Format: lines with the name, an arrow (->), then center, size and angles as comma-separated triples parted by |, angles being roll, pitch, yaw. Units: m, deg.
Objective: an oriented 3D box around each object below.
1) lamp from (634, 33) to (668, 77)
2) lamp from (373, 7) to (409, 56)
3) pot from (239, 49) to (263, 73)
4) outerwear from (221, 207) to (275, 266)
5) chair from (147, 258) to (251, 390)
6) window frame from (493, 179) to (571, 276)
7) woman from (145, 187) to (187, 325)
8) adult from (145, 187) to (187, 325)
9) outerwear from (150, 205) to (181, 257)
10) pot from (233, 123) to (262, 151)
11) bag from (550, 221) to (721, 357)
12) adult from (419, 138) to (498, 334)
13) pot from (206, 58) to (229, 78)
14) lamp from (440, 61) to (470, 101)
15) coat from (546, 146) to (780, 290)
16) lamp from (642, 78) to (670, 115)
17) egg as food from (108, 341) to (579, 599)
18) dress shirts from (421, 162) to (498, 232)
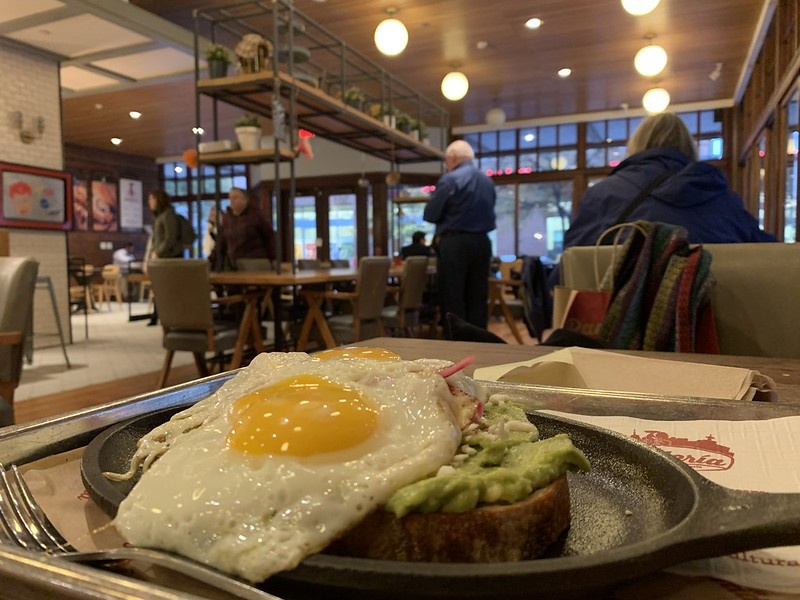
lamp -> 2.386, -2.294, 6.230 | 0.203, 0.257, 0.226 | -5, 8, -29
lamp -> -0.071, -2.357, 5.813 | 0.254, 0.438, 0.647 | -2, 7, 2
pot -> -1.043, -1.681, 4.617 | 0.153, 0.159, 0.133 | 16, 21, 37
outerwear -> -1.355, -0.602, 5.712 | 0.511, 0.505, 0.293 | 3, 14, 7
chair -> -1.127, 0.119, 3.738 | 0.554, 0.776, 0.564 | 6, 11, 29
window frame -> 1.999, -1.233, 10.539 | 1.450, 1.765, 0.079 | 2, -28, 12
woman -> -2.279, -0.456, 6.500 | 0.405, 1.198, 0.409 | -4, 11, -41
adult -> -2.275, -0.468, 6.528 | 0.406, 1.189, 0.421 | -6, 16, -40
outerwear -> -2.303, -0.660, 6.457 | 0.272, 0.523, 0.459 | -7, 9, -27
pot -> -1.234, -1.324, 5.359 | 0.189, 0.229, 0.440 | -3, 7, -14
bag -> 0.499, -0.021, 1.425 | 0.306, 0.307, 0.175 | -4, -16, 45
adult -> 0.472, -0.400, 5.237 | 0.551, 1.736, 0.525 | -3, 6, -38
pot -> -1.361, -1.719, 4.871 | 0.137, 0.119, 0.156 | 1, 4, 3
lamp -> 0.611, -2.458, 7.287 | 0.375, 0.542, 0.388 | 1, -17, 1
coat -> 0.947, -0.346, 2.440 | 0.574, 0.265, 0.643 | -3, 8, 7
lamp -> 2.891, -2.251, 7.392 | 0.237, 0.307, 0.387 | 0, 7, 18
egg as food -> -0.034, 0.112, 0.433 | 0.171, 0.064, 0.200 | -4, 8, -16
dress shirts -> 0.524, -0.774, 5.155 | 0.639, 0.562, 0.354 | -1, 17, -31
